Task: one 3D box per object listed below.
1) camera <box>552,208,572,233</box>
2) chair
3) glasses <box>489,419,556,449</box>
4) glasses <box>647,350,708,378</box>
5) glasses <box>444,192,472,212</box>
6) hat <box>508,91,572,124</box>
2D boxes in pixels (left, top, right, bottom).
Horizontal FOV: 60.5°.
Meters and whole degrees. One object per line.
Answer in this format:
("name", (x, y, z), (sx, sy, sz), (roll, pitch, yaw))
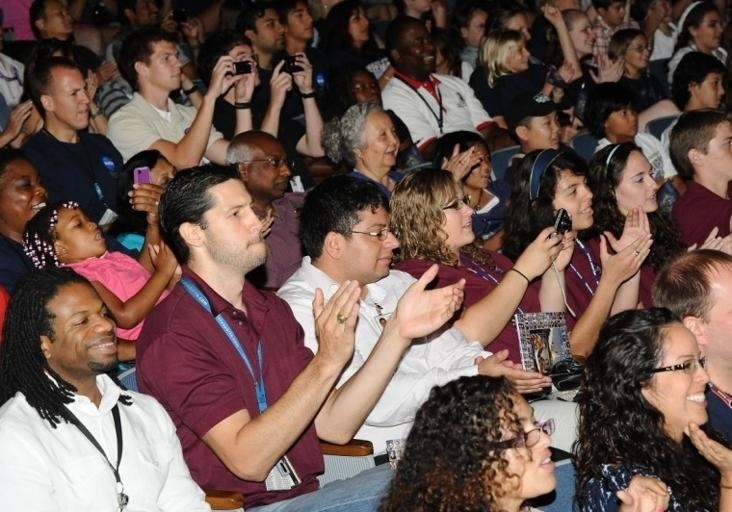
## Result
("camera", (1.397, -0.232, 4.452), (0.051, 0.183, 0.182), (11, 7, 29))
("chair", (0.529, 0.547, 4.944), (2.388, 2.788, 1.641), (-3, 35, -22))
("glasses", (0.621, 0.730, 2.494), (0.206, 0.059, 0.206), (-21, -7, 20))
("glasses", (1.561, 0.541, 3.081), (0.391, 0.094, 0.129), (4, 5, -37))
("glasses", (0.643, -0.368, 4.395), (0.156, 0.049, 0.158), (-15, 0, 22))
("hat", (1.660, -1.489, 6.311), (0.414, 0.227, 0.308), (-11, 11, 31))
